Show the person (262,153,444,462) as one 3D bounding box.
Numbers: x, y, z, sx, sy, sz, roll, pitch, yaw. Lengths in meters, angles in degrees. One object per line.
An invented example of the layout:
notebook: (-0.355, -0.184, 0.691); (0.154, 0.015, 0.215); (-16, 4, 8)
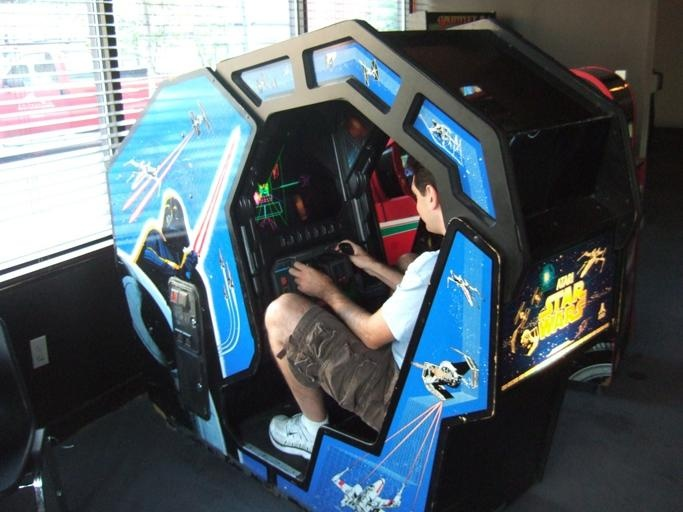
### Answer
person: (0.052, 0.299, 2.335); (0.811, 1.383, 0.630); (9, 28, 20)

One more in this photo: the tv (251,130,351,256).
tv: (-0.231, -0.274, 2.763); (0.626, 0.148, 0.732); (10, 64, -10)
